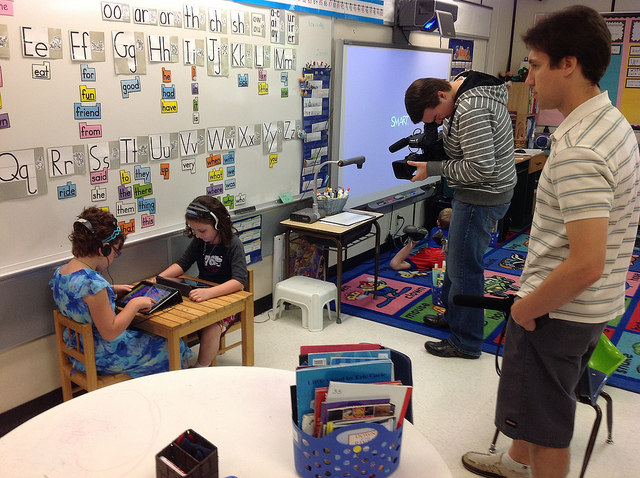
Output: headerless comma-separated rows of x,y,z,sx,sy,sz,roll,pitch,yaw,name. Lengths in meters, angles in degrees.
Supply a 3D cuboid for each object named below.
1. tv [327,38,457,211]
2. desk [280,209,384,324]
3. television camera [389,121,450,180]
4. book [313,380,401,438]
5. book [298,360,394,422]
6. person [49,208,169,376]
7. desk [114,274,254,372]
0.556,-1.023,3.931,0.069,1.292,1.795,11,18,36,tv
0.158,0.117,3.879,0.681,0.890,0.903,11,20,26,desk
0.694,-0.624,3.161,0.409,0.410,0.323,5,19,21,television camera
0.088,0.448,1.188,0.162,0.150,0.025,-1,3,-8,book
0.063,0.410,1.198,0.157,0.124,0.018,-3,13,-16,book
-1.052,0.352,2.356,0.544,0.948,0.510,-3,4,-43,person
-0.719,0.397,2.533,0.544,0.417,0.508,9,16,34,desk
